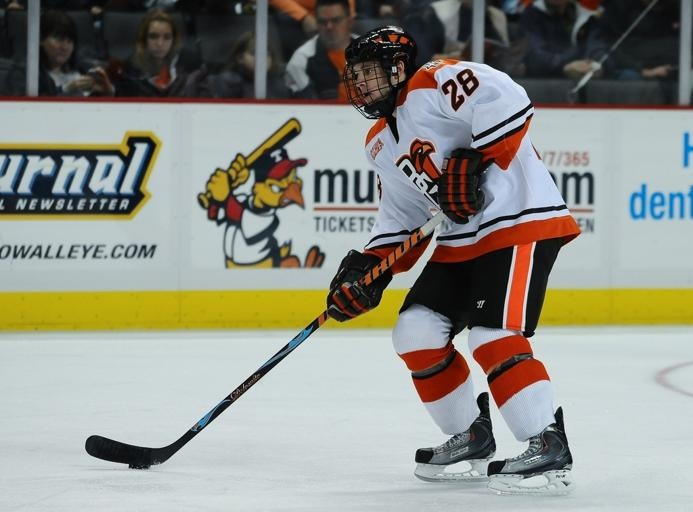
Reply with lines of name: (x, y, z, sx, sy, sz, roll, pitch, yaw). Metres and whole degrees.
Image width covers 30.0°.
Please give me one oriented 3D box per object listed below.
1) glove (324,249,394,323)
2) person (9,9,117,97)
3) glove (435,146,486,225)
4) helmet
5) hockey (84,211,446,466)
glove: (0.040, 0.143, 6.073, 0.161, 0.354, 0.268, 42, -16, 5)
person: (-1.900, -1.318, 8.660, 0.797, 0.584, 0.541, -6, 11, -26)
glove: (0.504, -0.320, 5.757, 0.231, 0.296, 0.115, 5, -7, 38)
helmet: (0.121, -0.835, 5.971, 0.439, 0.444, 0.349, -4, -7, -8)
hockey: (-0.513, 0.468, 7.132, 0.232, 1.713, 0.192, 50, -4, 36)
